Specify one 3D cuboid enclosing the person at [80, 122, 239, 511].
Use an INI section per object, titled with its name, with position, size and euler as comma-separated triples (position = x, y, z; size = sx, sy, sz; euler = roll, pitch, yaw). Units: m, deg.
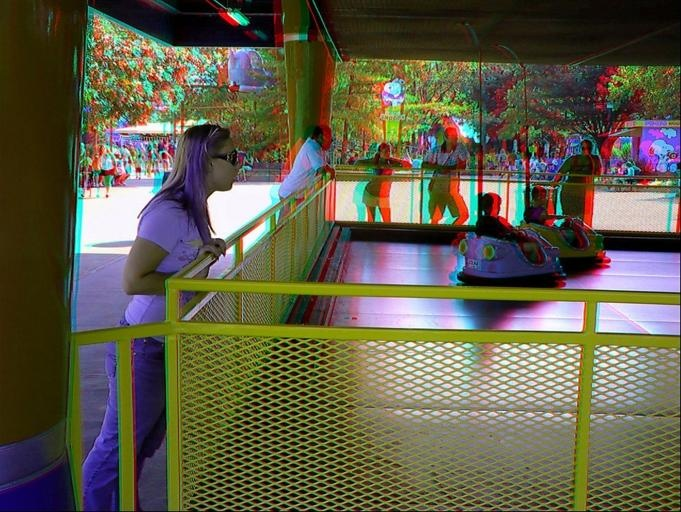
[person]
position = -0.782, 0.205, 2.500
size = 0.472, 1.628, 0.773
euler = 5, 6, 28
